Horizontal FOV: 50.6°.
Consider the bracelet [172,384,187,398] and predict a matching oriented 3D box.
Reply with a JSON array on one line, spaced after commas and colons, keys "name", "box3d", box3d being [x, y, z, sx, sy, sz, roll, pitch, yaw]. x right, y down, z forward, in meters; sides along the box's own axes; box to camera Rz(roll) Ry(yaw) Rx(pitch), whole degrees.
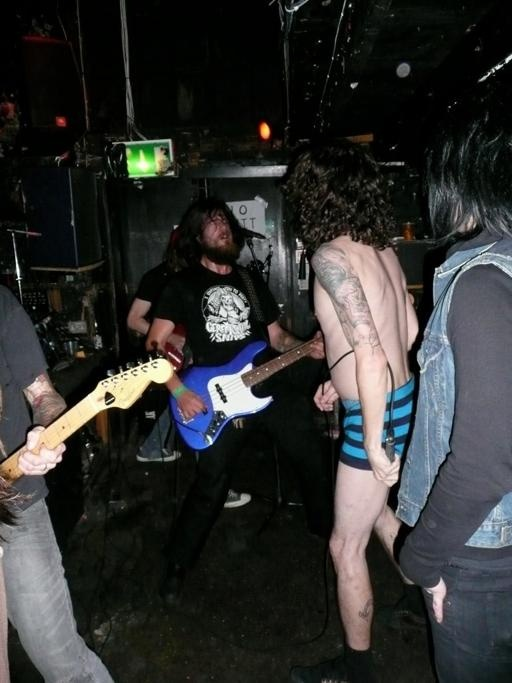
[{"name": "bracelet", "box3d": [-0.426, 0.271, 3.008, 0.079, 0.077, 0.021, -36, -5, -10]}]

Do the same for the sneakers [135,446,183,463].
[{"name": "sneakers", "box3d": [-0.807, 0.945, 4.453, 0.500, 0.145, 0.299, 2, -5, -9]}]

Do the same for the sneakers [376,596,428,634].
[{"name": "sneakers", "box3d": [0.721, 1.332, 2.661, 0.178, 0.134, 0.085, -44, 9, 26]}]

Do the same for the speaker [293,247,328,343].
[{"name": "speaker", "box3d": [0.509, -0.526, 5.613, 0.387, 0.929, 0.111, -3, 7, -3]}]

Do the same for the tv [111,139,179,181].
[{"name": "tv", "box3d": [-0.947, -1.513, 4.474, 0.541, 0.300, 0.200, -3, 14, -8]}]

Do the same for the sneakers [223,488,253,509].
[{"name": "sneakers", "box3d": [-0.136, 1.113, 3.808, 0.221, 0.063, 0.152, -2, 33, -15]}]

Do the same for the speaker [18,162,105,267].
[{"name": "speaker", "box3d": [-1.455, -0.925, 4.091, 0.387, 0.662, 0.683, 0, 16, -1]}]

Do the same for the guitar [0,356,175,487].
[{"name": "guitar", "box3d": [-0.885, 0.456, 2.922, 1.063, 0.339, 0.148, -33, -13, -10]}]

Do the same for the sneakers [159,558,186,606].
[{"name": "sneakers", "box3d": [-0.451, 1.272, 2.878, 0.082, 0.172, 0.251, 15, 0, -6]}]
